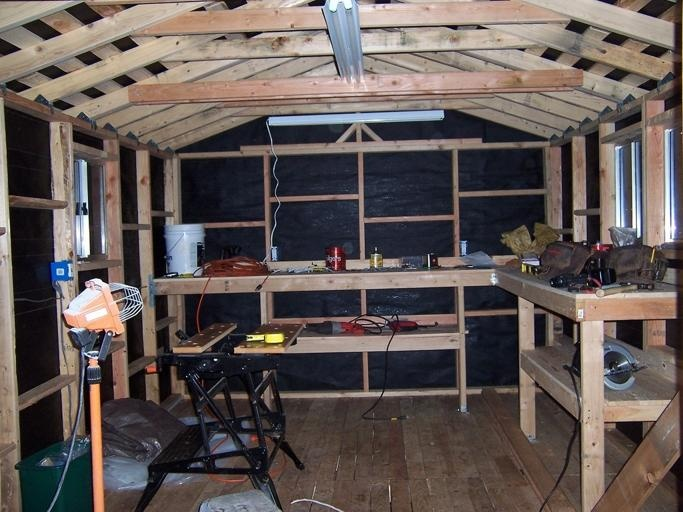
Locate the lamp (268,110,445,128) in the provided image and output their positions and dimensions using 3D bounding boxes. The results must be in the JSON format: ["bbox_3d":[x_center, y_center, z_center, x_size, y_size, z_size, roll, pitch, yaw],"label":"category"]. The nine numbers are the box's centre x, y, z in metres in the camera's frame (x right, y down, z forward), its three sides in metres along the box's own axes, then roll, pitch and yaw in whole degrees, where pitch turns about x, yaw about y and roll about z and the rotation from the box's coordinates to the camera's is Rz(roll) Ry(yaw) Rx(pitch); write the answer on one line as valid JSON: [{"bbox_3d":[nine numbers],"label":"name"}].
[{"bbox_3d":[0.149,-1.328,5.531,1.608,0.118,0.586,-2,9,6],"label":"lamp"}]

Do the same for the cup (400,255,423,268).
[{"bbox_3d":[0.714,0.057,5.809,0.294,0.110,0.158,1,-5,12],"label":"cup"}]

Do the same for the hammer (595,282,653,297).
[{"bbox_3d":[1.713,0.201,3.484,0.239,0.043,0.333,4,12,37],"label":"hammer"}]
